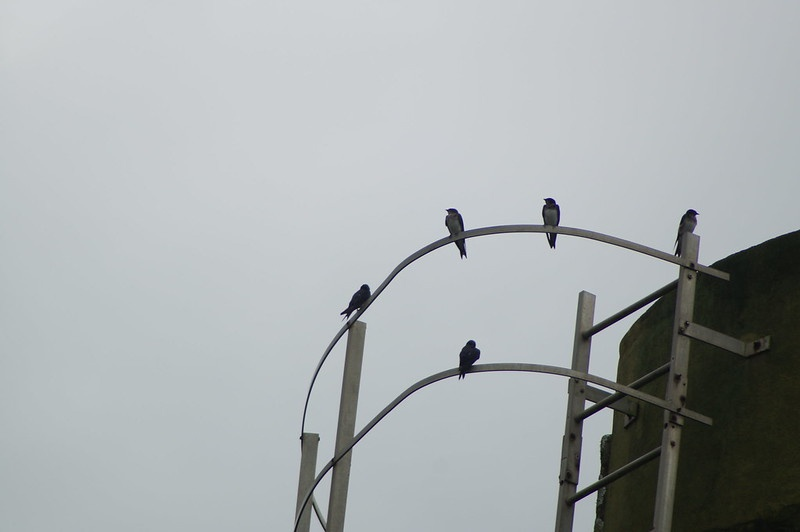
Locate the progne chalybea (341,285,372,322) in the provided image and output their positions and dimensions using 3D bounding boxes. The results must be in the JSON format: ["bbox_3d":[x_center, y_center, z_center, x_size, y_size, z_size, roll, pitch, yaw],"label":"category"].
[{"bbox_3d":[-0.664,0.643,26.966,0.490,0.534,0.259,-22,-48,-19],"label":"progne chalybea"}]
